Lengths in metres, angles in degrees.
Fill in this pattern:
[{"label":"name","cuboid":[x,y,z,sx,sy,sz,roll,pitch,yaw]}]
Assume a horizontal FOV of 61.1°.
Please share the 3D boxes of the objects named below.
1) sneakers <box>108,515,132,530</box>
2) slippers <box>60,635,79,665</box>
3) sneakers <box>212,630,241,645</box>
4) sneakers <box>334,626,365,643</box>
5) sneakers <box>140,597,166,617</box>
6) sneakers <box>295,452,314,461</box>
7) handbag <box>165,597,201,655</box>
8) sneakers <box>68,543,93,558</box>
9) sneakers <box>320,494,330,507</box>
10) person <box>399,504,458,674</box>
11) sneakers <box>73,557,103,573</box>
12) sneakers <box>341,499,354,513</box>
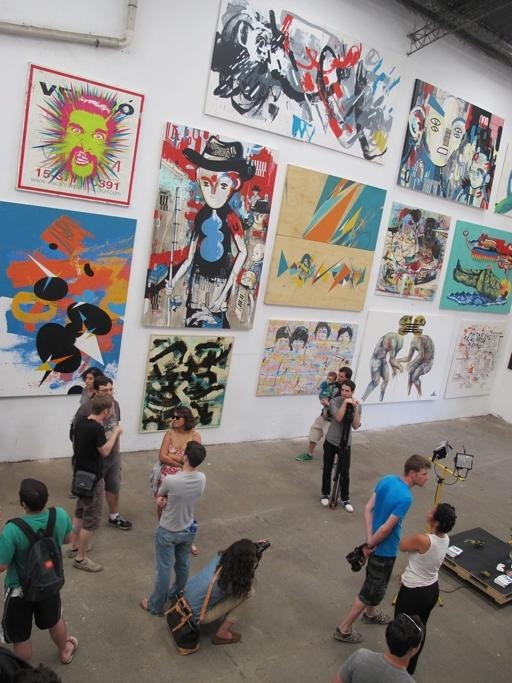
[{"label":"sneakers","cuboid":[-1.283,1.710,4.141,0.230,0.101,0.111,14,14,7]},{"label":"slippers","cuboid":[-1.067,1.774,2.525,0.082,0.067,0.193,9,21,-5]},{"label":"sneakers","cuboid":[-0.191,2.011,2.933,0.170,0.040,0.088,-2,12,-13]},{"label":"sneakers","cuboid":[0.689,2.144,3.200,0.217,0.090,0.088,3,23,-5]},{"label":"sneakers","cuboid":[-0.742,1.881,3.118,0.185,0.076,0.086,25,4,28]},{"label":"sneakers","cuboid":[0.749,1.752,6.603,0.209,0.086,0.105,2,8,-6]},{"label":"handbag","cuboid":[-0.458,1.819,2.766,0.164,0.322,0.329,-6,23,-22]},{"label":"sneakers","cuboid":[-1.465,1.741,3.616,0.178,0.074,0.068,-25,45,-24]},{"label":"sneakers","cuboid":[0.871,1.969,5.361,0.058,0.058,0.148,6,21,1]},{"label":"person","cuboid":[1.028,1.364,2.693,0.268,1.068,0.338,15,4,29]},{"label":"sneakers","cuboid":[-1.328,1.760,3.463,0.223,0.092,0.107,9,3,-10]},{"label":"sneakers","cuboid":[1.148,2.028,5.364,0.069,0.069,0.179,-4,10,-13]}]
